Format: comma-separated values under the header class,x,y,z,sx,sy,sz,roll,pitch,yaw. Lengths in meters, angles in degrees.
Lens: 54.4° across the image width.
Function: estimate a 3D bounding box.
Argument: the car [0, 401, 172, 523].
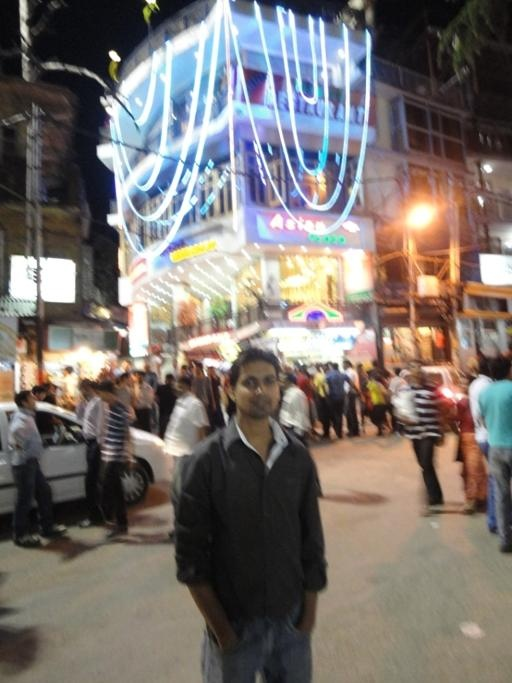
class,x,y,z,sx,sy,sz,roll,pitch,yaw
car,-2.377,1.593,7.289,2.335,1.522,1.195,-6,-2,-31
